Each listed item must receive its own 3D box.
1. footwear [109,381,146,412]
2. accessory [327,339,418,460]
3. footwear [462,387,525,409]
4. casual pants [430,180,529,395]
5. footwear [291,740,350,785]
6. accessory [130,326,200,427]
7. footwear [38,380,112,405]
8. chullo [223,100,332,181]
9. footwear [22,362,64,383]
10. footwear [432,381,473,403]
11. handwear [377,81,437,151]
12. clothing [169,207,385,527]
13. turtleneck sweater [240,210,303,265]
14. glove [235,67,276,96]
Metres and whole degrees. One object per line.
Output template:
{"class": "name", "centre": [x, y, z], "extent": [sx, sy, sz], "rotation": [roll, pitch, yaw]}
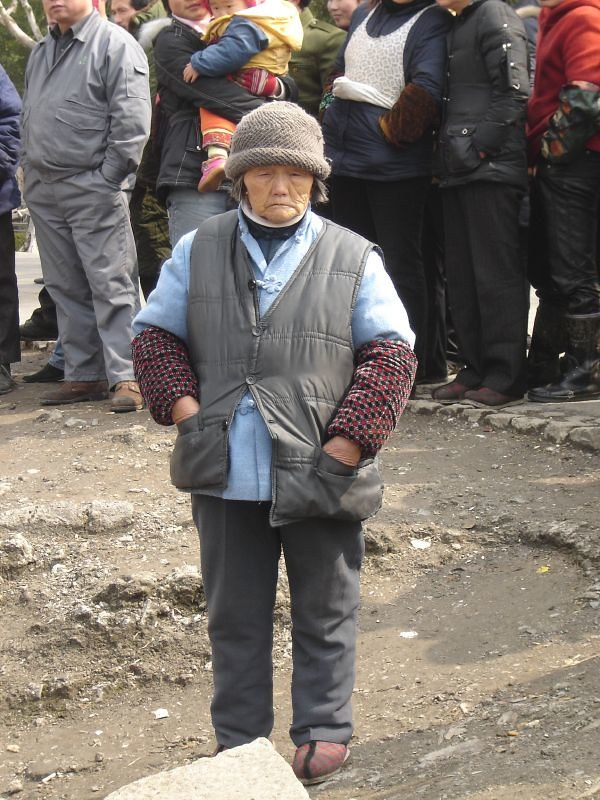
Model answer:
{"class": "footwear", "centre": [-0.928, -0.015, 5.303], "extent": [0.216, 0.193, 0.520], "rotation": [0, -2, -5]}
{"class": "accessory", "centre": [0.156, 0.005, 2.238], "extent": [0.188, 0.295, 0.106], "rotation": [31, -9, -1]}
{"class": "footwear", "centre": [0.988, -0.011, 4.832], "extent": [0.311, 0.094, 0.107], "rotation": [1, 5, 12]}
{"class": "casual pants", "centre": [0.941, -0.561, 4.846], "extent": [0.444, 1.061, 0.299], "rotation": [4, 10, 23]}
{"class": "footwear", "centre": [0.052, 0.836, 2.241], "extent": [0.084, 0.060, 0.155], "rotation": [1, 10, 26]}
{"class": "accessory", "centre": [-0.321, -0.057, 2.338], "extent": [0.152, 0.245, 0.100], "rotation": [-25, -25, 8]}
{"class": "footwear", "centre": [-1.281, -0.036, 5.498], "extent": [0.434, 0.161, 0.132], "rotation": [-1, 1, -22]}
{"class": "chullo", "centre": [-0.052, -0.631, 2.306], "extent": [0.247, 0.145, 0.212], "rotation": [0, -9, -2]}
{"class": "footwear", "centre": [-1.642, -0.163, 6.129], "extent": [0.353, 0.114, 0.103], "rotation": [-1, 2, -7]}
{"class": "footwear", "centre": [0.815, -0.042, 5.064], "extent": [0.208, 0.070, 0.096], "rotation": [3, -5, -40]}
{"class": "handwear", "centre": [0.533, -1.395, 4.681], "extent": [0.261, 0.114, 0.326], "rotation": [27, -53, -30]}
{"class": "clothing", "centre": [-0.057, -0.078, 2.220], "extent": [0.443, 0.690, 0.347], "rotation": [1, 9, 5]}
{"class": "turtleneck sweater", "centre": [-0.069, -0.399, 2.341], "extent": [0.141, 0.139, 0.076], "rotation": [2, 35, -1]}
{"class": "glove", "centre": [-0.198, -1.485, 4.408], "extent": [0.169, 0.070, 0.114], "rotation": [15, -10, -19]}
